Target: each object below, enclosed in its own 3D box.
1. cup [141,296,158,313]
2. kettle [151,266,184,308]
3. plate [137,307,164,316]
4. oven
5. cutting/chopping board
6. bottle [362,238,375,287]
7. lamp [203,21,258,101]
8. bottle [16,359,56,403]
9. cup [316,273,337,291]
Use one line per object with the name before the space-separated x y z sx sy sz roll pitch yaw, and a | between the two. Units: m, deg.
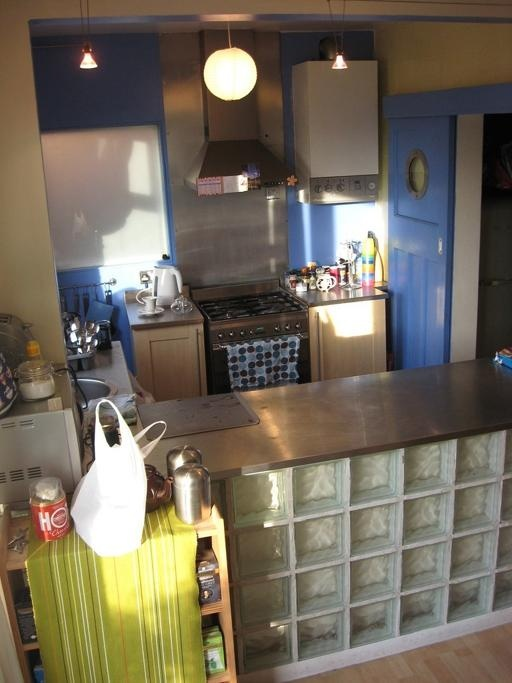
cup | -0.782 -0.267 4.076 0.111 0.120 0.116 1 13 0
kettle | -0.676 -0.422 4.155 0.273 0.282 0.222 21 27 33
plate | -0.769 -0.212 4.025 0.178 0.042 0.168 -7 14 -12
oven | 0.146 0.264 4.183 0.706 0.389 0.482 -9 53 16
cutting/chopping board | -0.249 0.299 2.250 0.451 0.017 0.438 -8 14 -16
bottle | 0.938 -0.664 4.611 0.102 0.383 0.261 -1 14 10
lamp | -0.119 -1.198 2.450 0.171 0.204 0.182 -15 18 -40
bottle | -0.683 0.130 1.761 0.117 0.117 0.114 2 14 10
cup | 0.578 -0.477 4.429 0.175 0.131 0.127 -6 14 -10
